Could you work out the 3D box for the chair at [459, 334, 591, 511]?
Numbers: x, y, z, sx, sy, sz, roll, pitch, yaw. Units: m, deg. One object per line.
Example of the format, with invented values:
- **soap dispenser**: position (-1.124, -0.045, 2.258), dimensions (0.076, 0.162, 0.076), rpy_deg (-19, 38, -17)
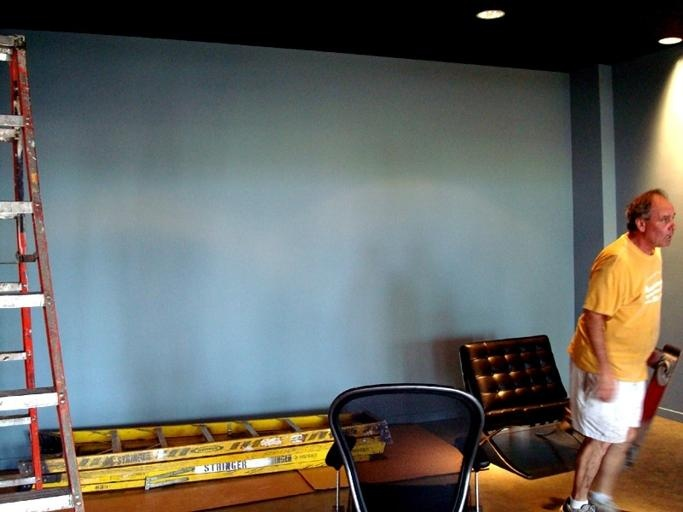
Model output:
- **chair**: position (1.401, 1.289, 4.796), dimensions (1.207, 1.150, 1.049), rpy_deg (1, -6, -29)
